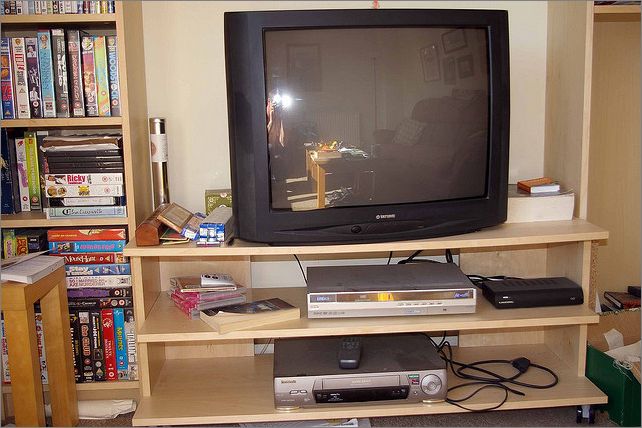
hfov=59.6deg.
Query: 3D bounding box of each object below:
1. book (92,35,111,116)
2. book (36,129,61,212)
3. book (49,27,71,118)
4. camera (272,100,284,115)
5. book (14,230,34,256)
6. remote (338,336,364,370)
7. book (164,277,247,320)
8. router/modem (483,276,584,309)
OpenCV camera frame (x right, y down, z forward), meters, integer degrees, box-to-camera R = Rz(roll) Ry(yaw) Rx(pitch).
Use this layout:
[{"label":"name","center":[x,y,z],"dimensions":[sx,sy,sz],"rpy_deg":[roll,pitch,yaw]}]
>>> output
[{"label":"book","center":[-0.933,-0.585,2.393],"dimensions":[0.068,0.328,0.047],"rpy_deg":[-4,12,11]},{"label":"book","center":[-1.192,-0.186,2.465],"dimensions":[0.051,0.438,0.340],"rpy_deg":[-2,7,-14]},{"label":"book","center":[-1.104,-0.595,2.382],"dimensions":[0.049,0.360,0.079],"rpy_deg":[2,14,34]},{"label":"camera","center":[-0.173,-0.428,2.255],"dimensions":[0.063,0.055,0.032],"rpy_deg":[1,2,-8]},{"label":"book","center":[-1.320,0.128,2.484],"dimensions":[0.119,0.105,0.083],"rpy_deg":[3,0,-9]},{"label":"remote","center":[0.128,0.584,2.395],"dimensions":[0.092,0.038,0.175],"rpy_deg":[-2,23,8]},{"label":"book","center":[-0.533,0.336,2.523],"dimensions":[0.227,0.071,0.227],"rpy_deg":[-3,9,-29]},{"label":"router/modem","center":[0.946,0.347,2.549],"dimensions":[0.421,0.103,0.201],"rpy_deg":[-5,11,-3]}]
